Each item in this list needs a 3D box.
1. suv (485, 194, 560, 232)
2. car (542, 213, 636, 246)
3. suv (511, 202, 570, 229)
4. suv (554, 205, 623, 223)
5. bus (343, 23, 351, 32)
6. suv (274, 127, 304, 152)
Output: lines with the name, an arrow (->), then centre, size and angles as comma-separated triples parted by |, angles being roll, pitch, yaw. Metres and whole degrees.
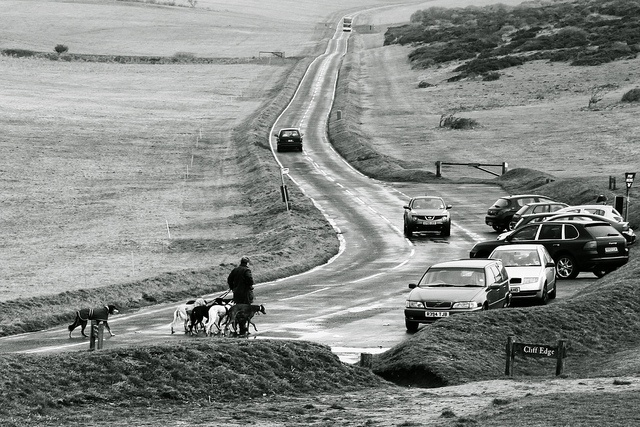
suv -> 18.564, -0.484, 124.144 | 9.190, 2.621, 3.727 | -4, 11, -16
car -> 20.729, 0.920, 114.057 | 7.593, 1.735, 2.684 | 2, 6, 11
suv -> 17.929, -0.127, 120.069 | 5.090, 1.277, 2.038 | -4, 6, -5
suv -> 21.919, -0.024, 116.751 | 4.466, 1.034, 1.750 | 3, 4, 11
bus -> 5.144, -35.627, 279.047 | 2.114, 1.411, 5.826 | 2, 12, 7
suv -> -3.412, -8.024, 157.464 | 3.581, 2.056, 6.309 | 0, 7, -3
